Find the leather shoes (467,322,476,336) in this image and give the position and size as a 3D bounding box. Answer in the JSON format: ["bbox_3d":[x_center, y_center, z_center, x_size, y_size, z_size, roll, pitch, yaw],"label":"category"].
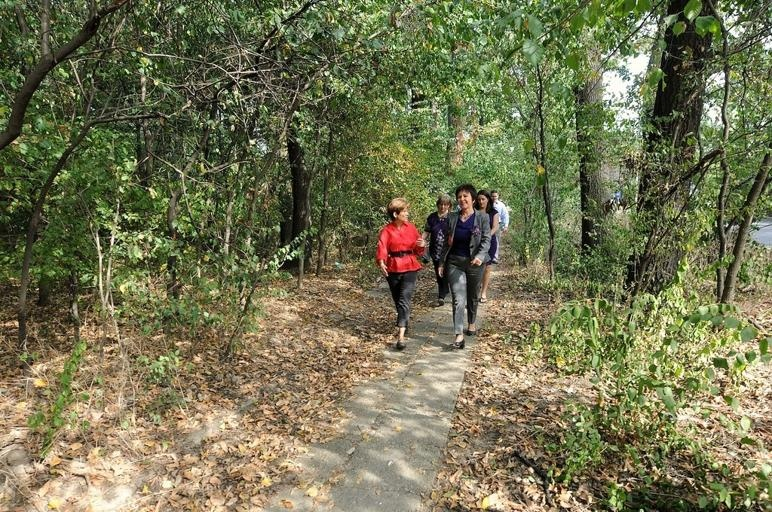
[{"bbox_3d":[1.326,1.141,8.917,0.141,0.186,0.439,-1,-10,6],"label":"leather shoes"}]

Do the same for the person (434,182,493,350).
[{"bbox_3d":[1.217,0.134,8.581,0.679,2.330,0.782,-4,14,-11],"label":"person"}]

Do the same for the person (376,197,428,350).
[{"bbox_3d":[0.196,0.227,8.760,0.613,2.158,0.815,5,15,25],"label":"person"}]

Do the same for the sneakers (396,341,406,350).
[{"bbox_3d":[0.216,1.348,8.631,0.129,0.126,0.104,-3,1,26],"label":"sneakers"}]
